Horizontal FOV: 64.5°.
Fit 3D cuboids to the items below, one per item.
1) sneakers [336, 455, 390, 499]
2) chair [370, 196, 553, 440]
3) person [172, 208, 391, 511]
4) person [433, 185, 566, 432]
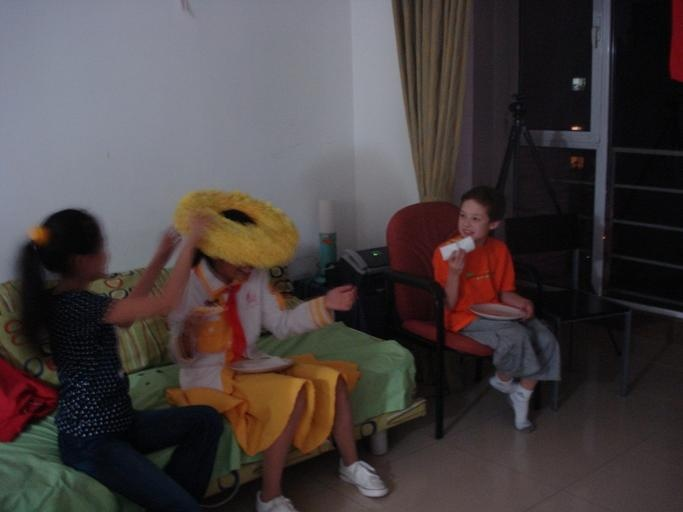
[{"bbox_3d":[0.086,0.862,2.136,0.209,0.094,0.092,10,16,38],"label":"sneakers"},{"bbox_3d":[0.522,0.164,2.748,0.826,1.222,1.011,-7,11,-29],"label":"chair"},{"bbox_3d":[-0.121,0.323,2.465,1.039,1.302,0.865,19,26,39],"label":"person"},{"bbox_3d":[0.718,0.237,2.540,0.544,1.077,0.505,-4,20,10],"label":"person"}]
